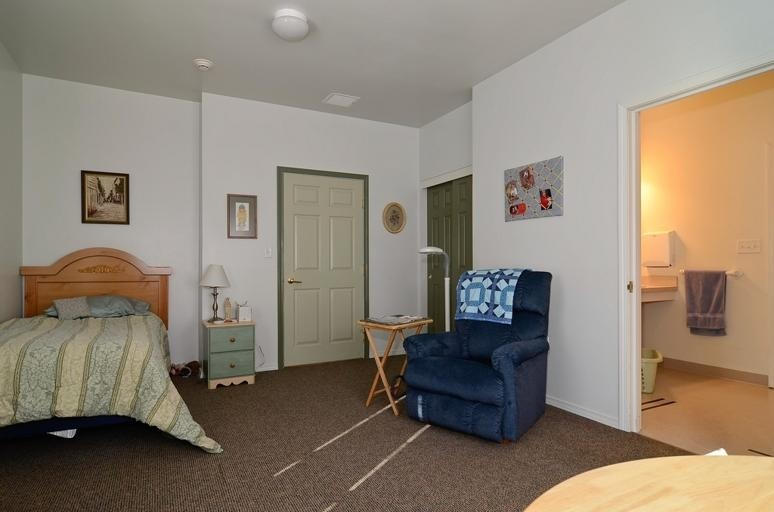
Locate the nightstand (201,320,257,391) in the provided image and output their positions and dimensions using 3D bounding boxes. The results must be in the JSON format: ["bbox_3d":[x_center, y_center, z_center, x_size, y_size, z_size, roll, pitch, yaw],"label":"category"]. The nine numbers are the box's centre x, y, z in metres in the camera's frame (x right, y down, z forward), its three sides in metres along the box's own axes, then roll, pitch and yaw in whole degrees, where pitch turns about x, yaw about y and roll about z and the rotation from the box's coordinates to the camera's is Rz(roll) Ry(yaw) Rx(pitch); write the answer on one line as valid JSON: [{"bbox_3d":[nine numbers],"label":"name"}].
[{"bbox_3d":[-1.996,1.105,5.716,0.632,0.875,0.656,1,-5,-32],"label":"nightstand"}]

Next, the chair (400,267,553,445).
[{"bbox_3d":[0.938,0.966,5.027,1.294,1.722,1.462,-6,-13,40],"label":"chair"}]

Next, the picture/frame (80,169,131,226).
[{"bbox_3d":[-3.341,-0.690,5.852,0.656,0.923,0.062,0,3,-30],"label":"picture/frame"}]

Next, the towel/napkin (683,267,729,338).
[{"bbox_3d":[3.697,0.538,5.791,0.456,0.769,0.210,6,12,33],"label":"towel/napkin"}]

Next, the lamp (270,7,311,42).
[{"bbox_3d":[-0.913,-2.170,4.678,0.304,0.233,0.214,-5,11,-20],"label":"lamp"}]

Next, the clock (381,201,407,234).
[{"bbox_3d":[0.078,-0.551,7.052,0.450,0.504,0.064,-1,0,-34],"label":"clock"}]
